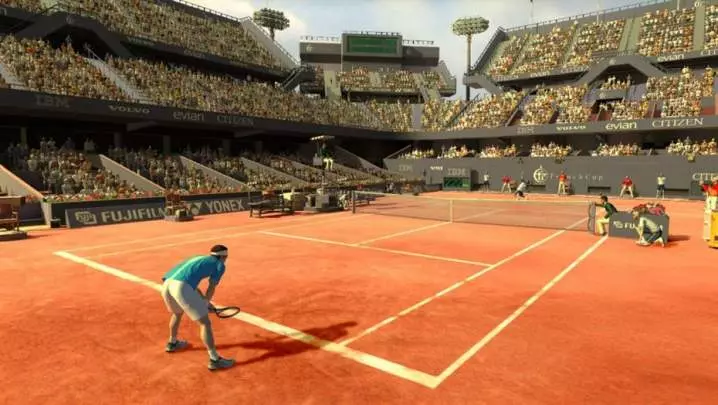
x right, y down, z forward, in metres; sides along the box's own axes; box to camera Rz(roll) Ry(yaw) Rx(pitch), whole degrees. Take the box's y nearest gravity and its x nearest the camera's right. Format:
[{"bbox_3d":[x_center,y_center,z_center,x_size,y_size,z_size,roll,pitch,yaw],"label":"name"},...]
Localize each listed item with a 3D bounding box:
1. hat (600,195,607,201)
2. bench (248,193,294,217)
[{"bbox_3d":[14.699,-0.224,28.604,0.442,0.203,0.582,-6,11,29],"label":"hat"},{"bbox_3d":[-6.850,0.247,37.343,3.812,1.524,1.104,-4,-6,14],"label":"bench"}]
